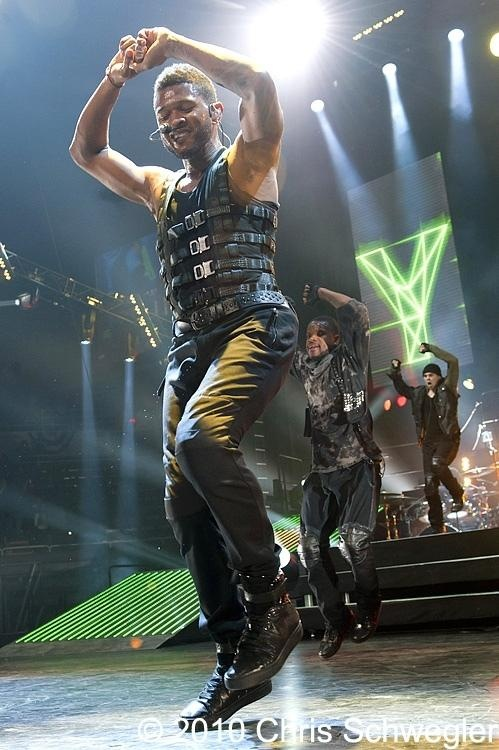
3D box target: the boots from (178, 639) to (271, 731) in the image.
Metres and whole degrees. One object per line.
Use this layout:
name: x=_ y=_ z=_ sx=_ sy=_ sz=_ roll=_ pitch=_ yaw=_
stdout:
boots: x=-0.079 y=0.740 z=1.376 sx=0.259 sy=0.143 sz=0.085 roll=-3 pitch=-21 yaw=-39

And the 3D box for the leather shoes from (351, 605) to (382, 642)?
leather shoes: x=0.720 y=1.499 z=3.498 sx=0.123 sy=0.282 sz=0.099 roll=27 pitch=-63 yaw=3
